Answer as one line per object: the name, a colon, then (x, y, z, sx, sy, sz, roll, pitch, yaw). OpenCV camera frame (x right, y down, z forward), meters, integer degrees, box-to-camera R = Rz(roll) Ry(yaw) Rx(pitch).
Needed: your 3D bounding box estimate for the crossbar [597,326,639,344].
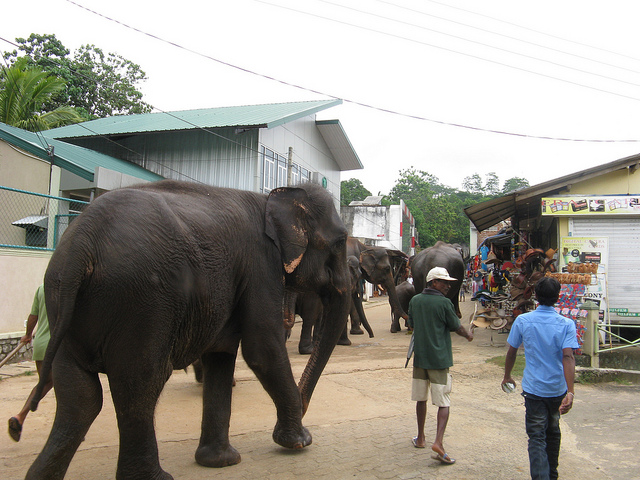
crossbar: (4.914, 1.520, 9.414, 0.580, 0.316, 1.270, 1, 0, 31)

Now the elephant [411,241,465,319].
elephant: (3.075, 0.936, 14.354, 1.226, 1.996, 3.220, 2, 3, 24)

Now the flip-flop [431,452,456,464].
flip-flop: (1.182, 2.109, 5.595, 0.169, 0.049, 0.086, 0, 1, 39)

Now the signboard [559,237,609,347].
signboard: (5.418, 0.865, 11.868, 0.896, 1.668, 0.819, 2, -21, 28)

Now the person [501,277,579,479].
person: (1.972, 1.254, 5.154, 0.602, 1.831, 0.577, 1, 1, 21)

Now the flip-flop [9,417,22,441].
flip-flop: (-2.875, 1.775, 5.404, 0.097, 0.244, 0.101, 0, 1, -32)

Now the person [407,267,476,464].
person: (1.217, 1.230, 5.946, 0.539, 1.870, 0.793, 0, 1, -17)

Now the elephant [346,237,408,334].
elephant: (1.330, 0.915, 13.588, 1.473, 1.856, 1.347, 1, 1, 24)

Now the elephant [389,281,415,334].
elephant: (2.092, 1.530, 14.999, 0.669, 1.047, 1.628, 3, 11, 24)
